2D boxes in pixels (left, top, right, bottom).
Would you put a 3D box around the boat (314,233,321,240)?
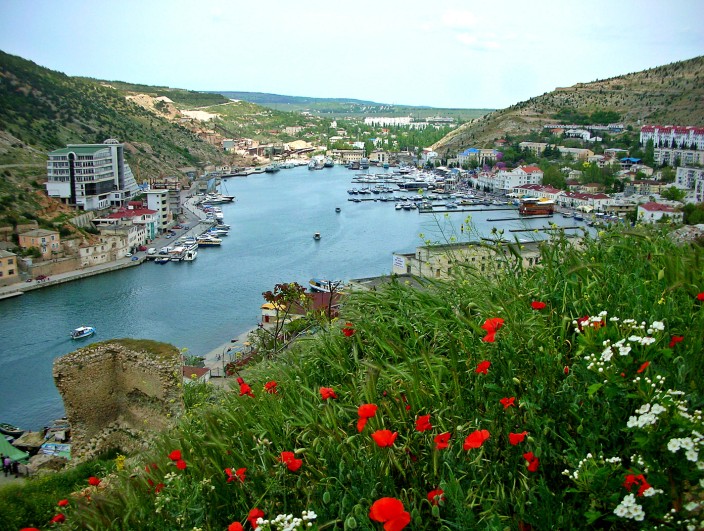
[{"bbox_3d":[-0.944,-0.784,14.406,0.177,0.201,0.555,-2,6,-6],"label":"boat"}]
